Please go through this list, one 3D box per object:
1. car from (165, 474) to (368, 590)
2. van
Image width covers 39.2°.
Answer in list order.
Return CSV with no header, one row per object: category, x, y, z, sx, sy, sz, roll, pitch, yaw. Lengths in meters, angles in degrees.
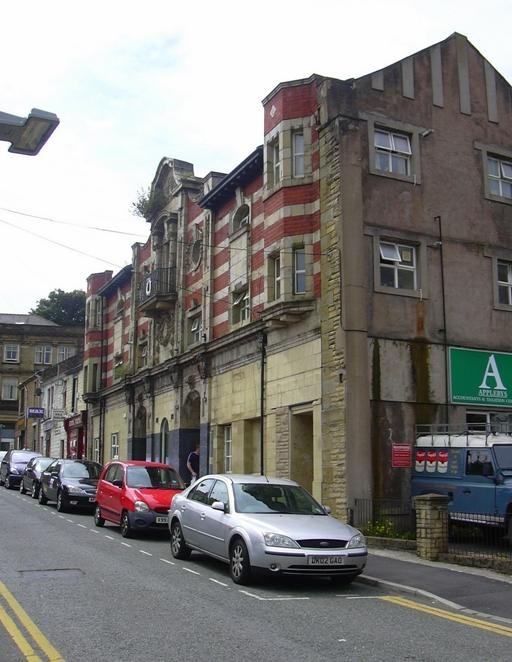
car,-0.002,2.769,10.235,1.279,1.062,3.050,8,-16,-24
van,-2.507,3.719,16.157,1.328,1.180,2.316,7,-17,-24
